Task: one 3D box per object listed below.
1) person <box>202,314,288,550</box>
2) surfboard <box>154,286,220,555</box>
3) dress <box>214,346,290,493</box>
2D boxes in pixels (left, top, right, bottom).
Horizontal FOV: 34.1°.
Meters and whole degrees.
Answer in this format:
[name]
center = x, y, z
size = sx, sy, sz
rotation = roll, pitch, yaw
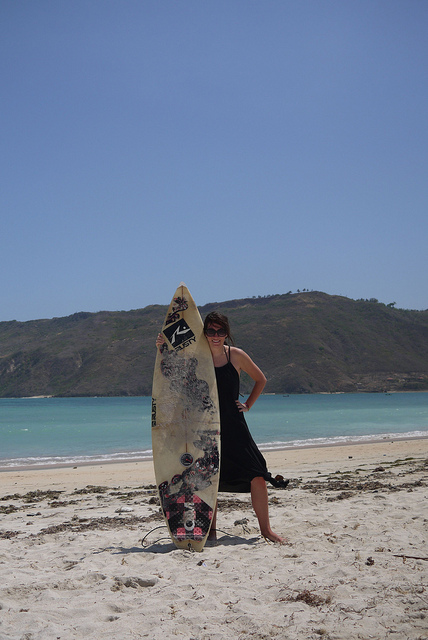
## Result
[person]
center = 0.210, 0.798, 5.226
size = 0.585, 1.719, 0.449
rotation = -2, -6, 1
[surfboard]
center = -0.197, 0.716, 5.380
size = 0.467, 1.974, 0.200
rotation = -2, -19, 3
[dress]
center = 0.243, 0.751, 5.274
size = 0.473, 1.115, 0.294
rotation = -2, -6, 1
